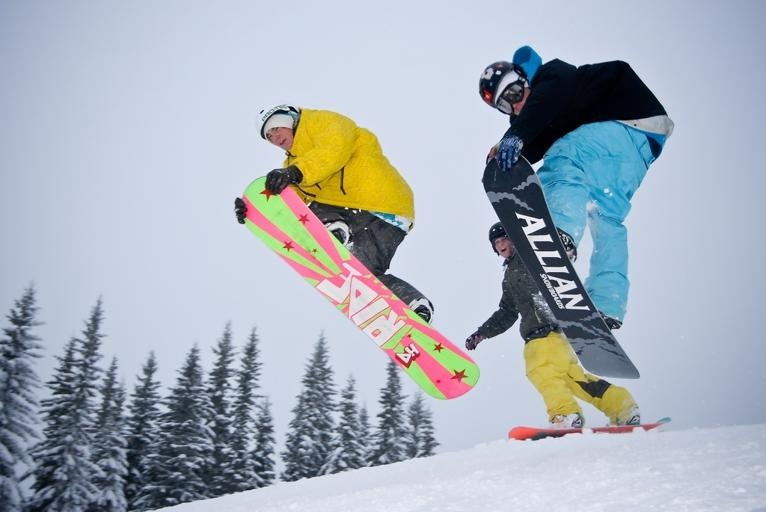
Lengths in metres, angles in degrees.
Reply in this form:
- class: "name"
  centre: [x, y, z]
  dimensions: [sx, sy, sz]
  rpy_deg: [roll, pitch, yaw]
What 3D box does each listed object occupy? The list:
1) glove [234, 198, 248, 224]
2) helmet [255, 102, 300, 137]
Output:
- class: "glove"
  centre: [-2.084, -0.661, 12.436]
  dimensions: [0.104, 0.304, 0.242]
  rpy_deg: [-6, -9, -3]
- class: "helmet"
  centre: [-1.599, -2.023, 12.797]
  dimensions: [0.436, 0.571, 0.442]
  rpy_deg: [44, -7, -20]
